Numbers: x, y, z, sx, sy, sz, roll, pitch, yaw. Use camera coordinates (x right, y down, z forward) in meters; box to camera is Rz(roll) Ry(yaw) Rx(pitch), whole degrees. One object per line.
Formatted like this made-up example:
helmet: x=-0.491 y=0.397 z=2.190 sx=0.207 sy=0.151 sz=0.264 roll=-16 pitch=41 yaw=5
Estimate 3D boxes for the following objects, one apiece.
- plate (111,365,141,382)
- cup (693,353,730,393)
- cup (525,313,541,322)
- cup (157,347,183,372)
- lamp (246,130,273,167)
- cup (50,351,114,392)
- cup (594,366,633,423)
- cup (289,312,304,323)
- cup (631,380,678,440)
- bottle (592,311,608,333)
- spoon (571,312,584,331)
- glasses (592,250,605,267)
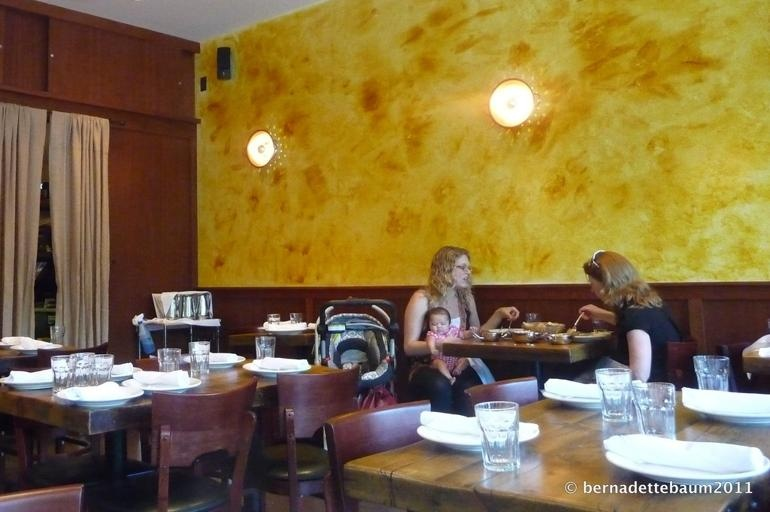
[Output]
plate: x=-1.464 y=0.670 z=3.577 sx=0.128 sy=0.018 sz=0.128 roll=3 pitch=4 yaw=12
cup: x=1.544 y=0.561 z=3.033 sx=0.175 sy=0.193 sz=0.173 roll=1 pitch=-7 yaw=0
cup: x=1.190 y=0.486 z=5.066 sx=0.098 sy=0.072 sz=0.089 roll=-1 pitch=-3 yaw=8
cup: x=-1.186 y=0.577 z=3.588 sx=0.152 sy=0.160 sz=0.148 roll=0 pitch=-4 yaw=0
lamp: x=-1.407 y=-1.216 z=7.259 sx=0.373 sy=0.384 sz=0.091 roll=32 pitch=16 yaw=27
cup: x=-1.588 y=0.618 z=3.356 sx=0.273 sy=0.169 sz=0.183 roll=1 pitch=-2 yaw=-4
cup: x=0.967 y=0.587 z=2.658 sx=0.206 sy=0.248 sz=0.205 roll=-1 pitch=-7 yaw=0
cup: x=-0.886 y=0.614 z=6.224 sx=0.155 sy=0.145 sz=0.140 roll=-2 pitch=-3 yaw=22
cup: x=1.049 y=0.583 z=2.476 sx=0.203 sy=0.228 sz=0.199 roll=0 pitch=-1 yaw=0
bottle: x=1.674 y=0.544 z=4.943 sx=0.114 sy=0.122 sz=0.115 roll=-5 pitch=-6 yaw=43
spoon: x=1.613 y=0.550 z=5.284 sx=0.056 sy=0.157 sz=0.107 roll=17 pitch=-8 yaw=5
glasses: x=1.533 y=0.027 z=4.538 sx=0.088 sy=0.109 sz=0.097 roll=-8 pitch=10 yaw=-11
